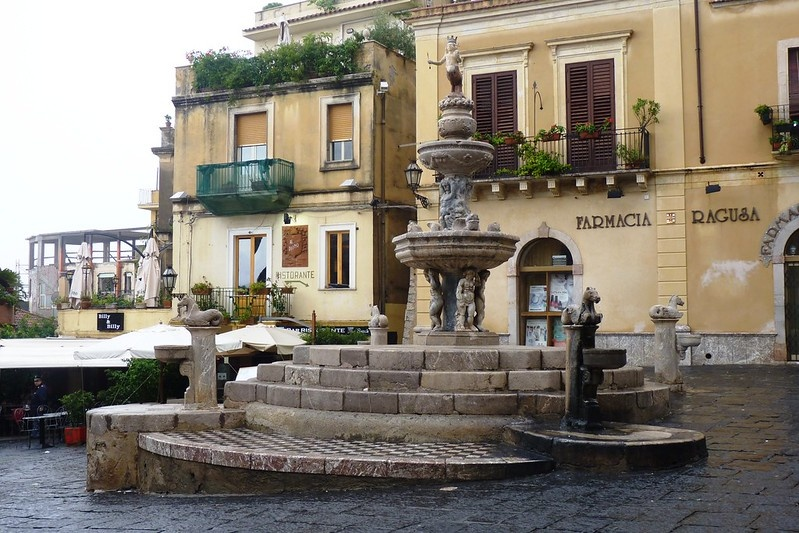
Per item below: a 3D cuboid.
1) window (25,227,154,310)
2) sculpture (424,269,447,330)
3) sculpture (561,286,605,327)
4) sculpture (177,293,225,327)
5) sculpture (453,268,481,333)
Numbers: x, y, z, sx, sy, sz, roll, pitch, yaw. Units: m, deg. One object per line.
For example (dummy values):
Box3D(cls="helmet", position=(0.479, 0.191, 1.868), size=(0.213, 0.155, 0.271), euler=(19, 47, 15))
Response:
Box3D(cls="window", position=(-13.409, 0.346, 49.177), size=(3.957, 2.688, 2.230), euler=(-2, -5, 22))
Box3D(cls="sculpture", position=(0.788, 0.781, 24.485), size=(0.420, 1.365, 0.677), euler=(-2, -4, 1))
Box3D(cls="sculpture", position=(3.442, 0.808, 20.991), size=(0.615, 0.723, 0.864), euler=(3, -9, -31))
Box3D(cls="sculpture", position=(-4.172, 0.991, 23.393), size=(0.749, 0.680, 1.193), euler=(0, -5, -19))
Box3D(cls="sculpture", position=(1.445, 0.779, 23.913), size=(0.471, 1.335, 0.264), euler=(-2, -4, 4))
